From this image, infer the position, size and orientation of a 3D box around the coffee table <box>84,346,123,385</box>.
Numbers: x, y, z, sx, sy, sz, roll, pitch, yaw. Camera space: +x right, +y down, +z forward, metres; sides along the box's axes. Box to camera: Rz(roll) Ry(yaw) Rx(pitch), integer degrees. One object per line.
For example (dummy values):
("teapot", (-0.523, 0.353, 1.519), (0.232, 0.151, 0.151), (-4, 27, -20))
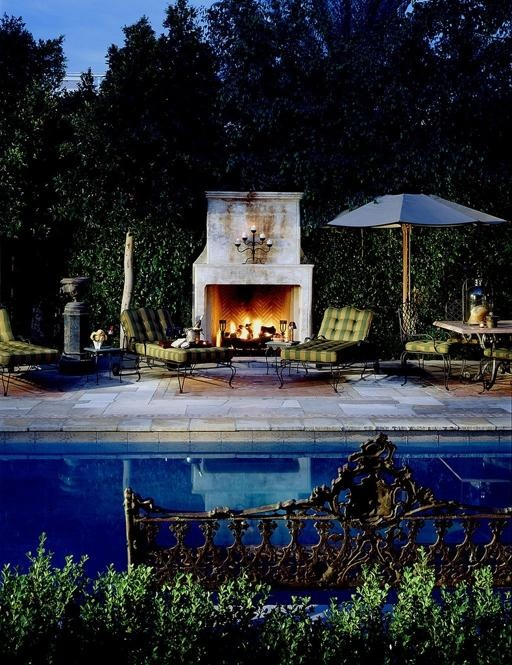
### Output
("coffee table", (-2.167, 0.439, 10.204), (0.475, 0.509, 0.501), (-2, 5, -33))

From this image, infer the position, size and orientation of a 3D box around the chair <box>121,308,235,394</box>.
("chair", (-1.017, 0.198, 9.797), (0.894, 1.040, 1.690), (-4, 6, -34))

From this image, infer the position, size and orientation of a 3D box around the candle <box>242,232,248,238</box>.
("candle", (-0.184, -1.559, 11.619), (0.076, 0.078, 0.078), (0, 3, -5))

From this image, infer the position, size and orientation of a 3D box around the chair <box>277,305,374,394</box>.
("chair", (1.023, 0.176, 9.643), (0.888, 0.986, 1.421), (2, 6, 28))

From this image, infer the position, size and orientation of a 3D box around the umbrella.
("umbrella", (2.044, -0.954, 10.345), (2.005, 2.015, 2.251), (-1, 6, -18))

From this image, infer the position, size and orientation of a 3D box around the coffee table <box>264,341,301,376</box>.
("coffee table", (0.342, 0.382, 11.129), (0.432, 0.521, 0.525), (1, 4, 8))

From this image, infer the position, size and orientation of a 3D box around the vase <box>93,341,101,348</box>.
("vase", (-2.166, 0.179, 9.774), (0.095, 0.118, 0.084), (0, -3, 7))
